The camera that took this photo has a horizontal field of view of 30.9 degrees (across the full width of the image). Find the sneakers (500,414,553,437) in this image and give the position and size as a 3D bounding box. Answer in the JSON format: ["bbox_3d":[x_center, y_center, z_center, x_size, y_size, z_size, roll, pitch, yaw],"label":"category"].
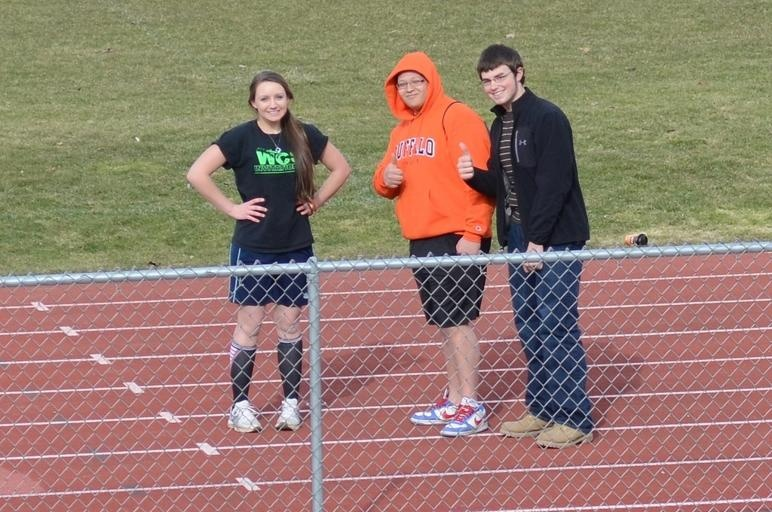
[{"bbox_3d":[1.633,1.974,16.247,0.533,0.226,0.248,2,-3,-9],"label":"sneakers"}]

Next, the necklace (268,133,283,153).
[{"bbox_3d":[-1.319,-1.318,16.261,0.057,0.231,0.126,-20,1,-38],"label":"necklace"}]

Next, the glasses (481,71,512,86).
[{"bbox_3d":[1.266,-2.030,15.949,0.362,0.167,0.125,5,26,17],"label":"glasses"}]

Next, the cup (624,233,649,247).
[{"bbox_3d":[2.864,-0.184,15.767,0.198,0.137,0.316,0,6,-11],"label":"cup"}]

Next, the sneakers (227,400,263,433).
[{"bbox_3d":[-1.691,1.908,16.422,0.249,0.251,0.495,-2,3,-40],"label":"sneakers"}]
